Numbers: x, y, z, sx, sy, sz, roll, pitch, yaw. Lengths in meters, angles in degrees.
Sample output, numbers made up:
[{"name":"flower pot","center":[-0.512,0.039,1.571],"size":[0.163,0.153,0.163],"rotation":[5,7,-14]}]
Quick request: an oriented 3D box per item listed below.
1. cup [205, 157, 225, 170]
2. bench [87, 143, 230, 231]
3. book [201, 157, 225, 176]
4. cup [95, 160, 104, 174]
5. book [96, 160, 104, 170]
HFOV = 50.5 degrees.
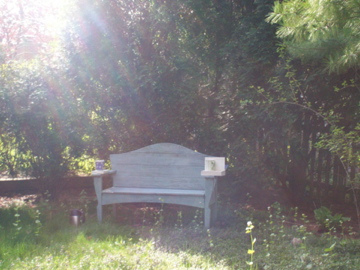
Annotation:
[{"name":"cup","center":[0.561,0.461,6.128],"size":[0.291,0.228,0.174],"rotation":[1,5,12]},{"name":"bench","center":[-0.306,0.836,6.771],"size":[2.100,1.209,1.906],"rotation":[-3,0,11]},{"name":"book","center":[0.552,0.472,6.125],"size":[0.276,0.245,0.302],"rotation":[1,2,17]},{"name":"cup","center":[-1.366,0.550,6.498],"size":[0.183,0.267,0.183],"rotation":[0,-8,0]},{"name":"book","center":[-1.367,0.506,6.582],"size":[0.131,0.162,0.130],"rotation":[5,-8,-38]}]
